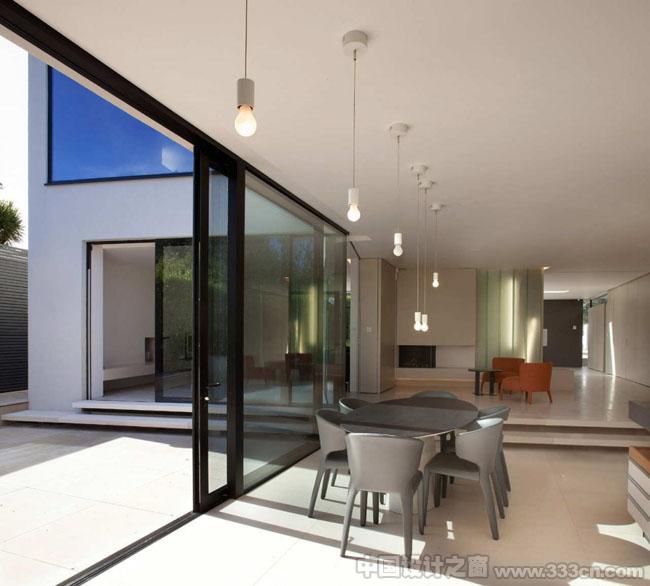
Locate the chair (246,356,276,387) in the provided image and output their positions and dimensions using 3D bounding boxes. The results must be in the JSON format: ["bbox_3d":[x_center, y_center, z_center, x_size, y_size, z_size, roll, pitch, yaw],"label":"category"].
[{"bbox_3d":[-0.652,0.779,5.366,0.224,0.327,0.449,-3,-8,19],"label":"chair"}]

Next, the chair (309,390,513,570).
[{"bbox_3d":[0.662,1.436,4.534,1.515,0.895,1.790,1,0,26],"label":"chair"}]

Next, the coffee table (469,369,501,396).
[{"bbox_3d":[2.978,1.619,10.157,0.537,0.454,0.567,-2,-3,27],"label":"coffee table"}]

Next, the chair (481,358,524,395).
[{"bbox_3d":[3.347,1.516,10.425,0.756,0.854,0.698,-8,-15,43],"label":"chair"}]
